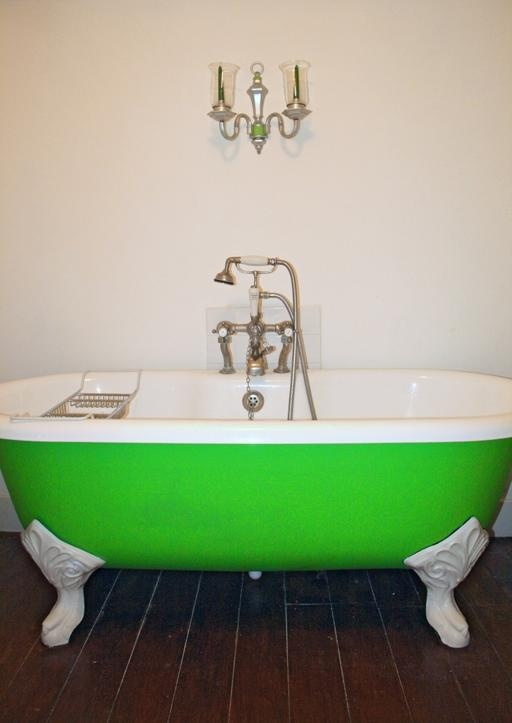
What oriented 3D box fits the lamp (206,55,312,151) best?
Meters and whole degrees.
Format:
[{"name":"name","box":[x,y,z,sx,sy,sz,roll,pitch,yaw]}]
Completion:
[{"name":"lamp","box":[0.008,-0.836,1.940,0.332,0.246,0.096,-1,11,3]}]
